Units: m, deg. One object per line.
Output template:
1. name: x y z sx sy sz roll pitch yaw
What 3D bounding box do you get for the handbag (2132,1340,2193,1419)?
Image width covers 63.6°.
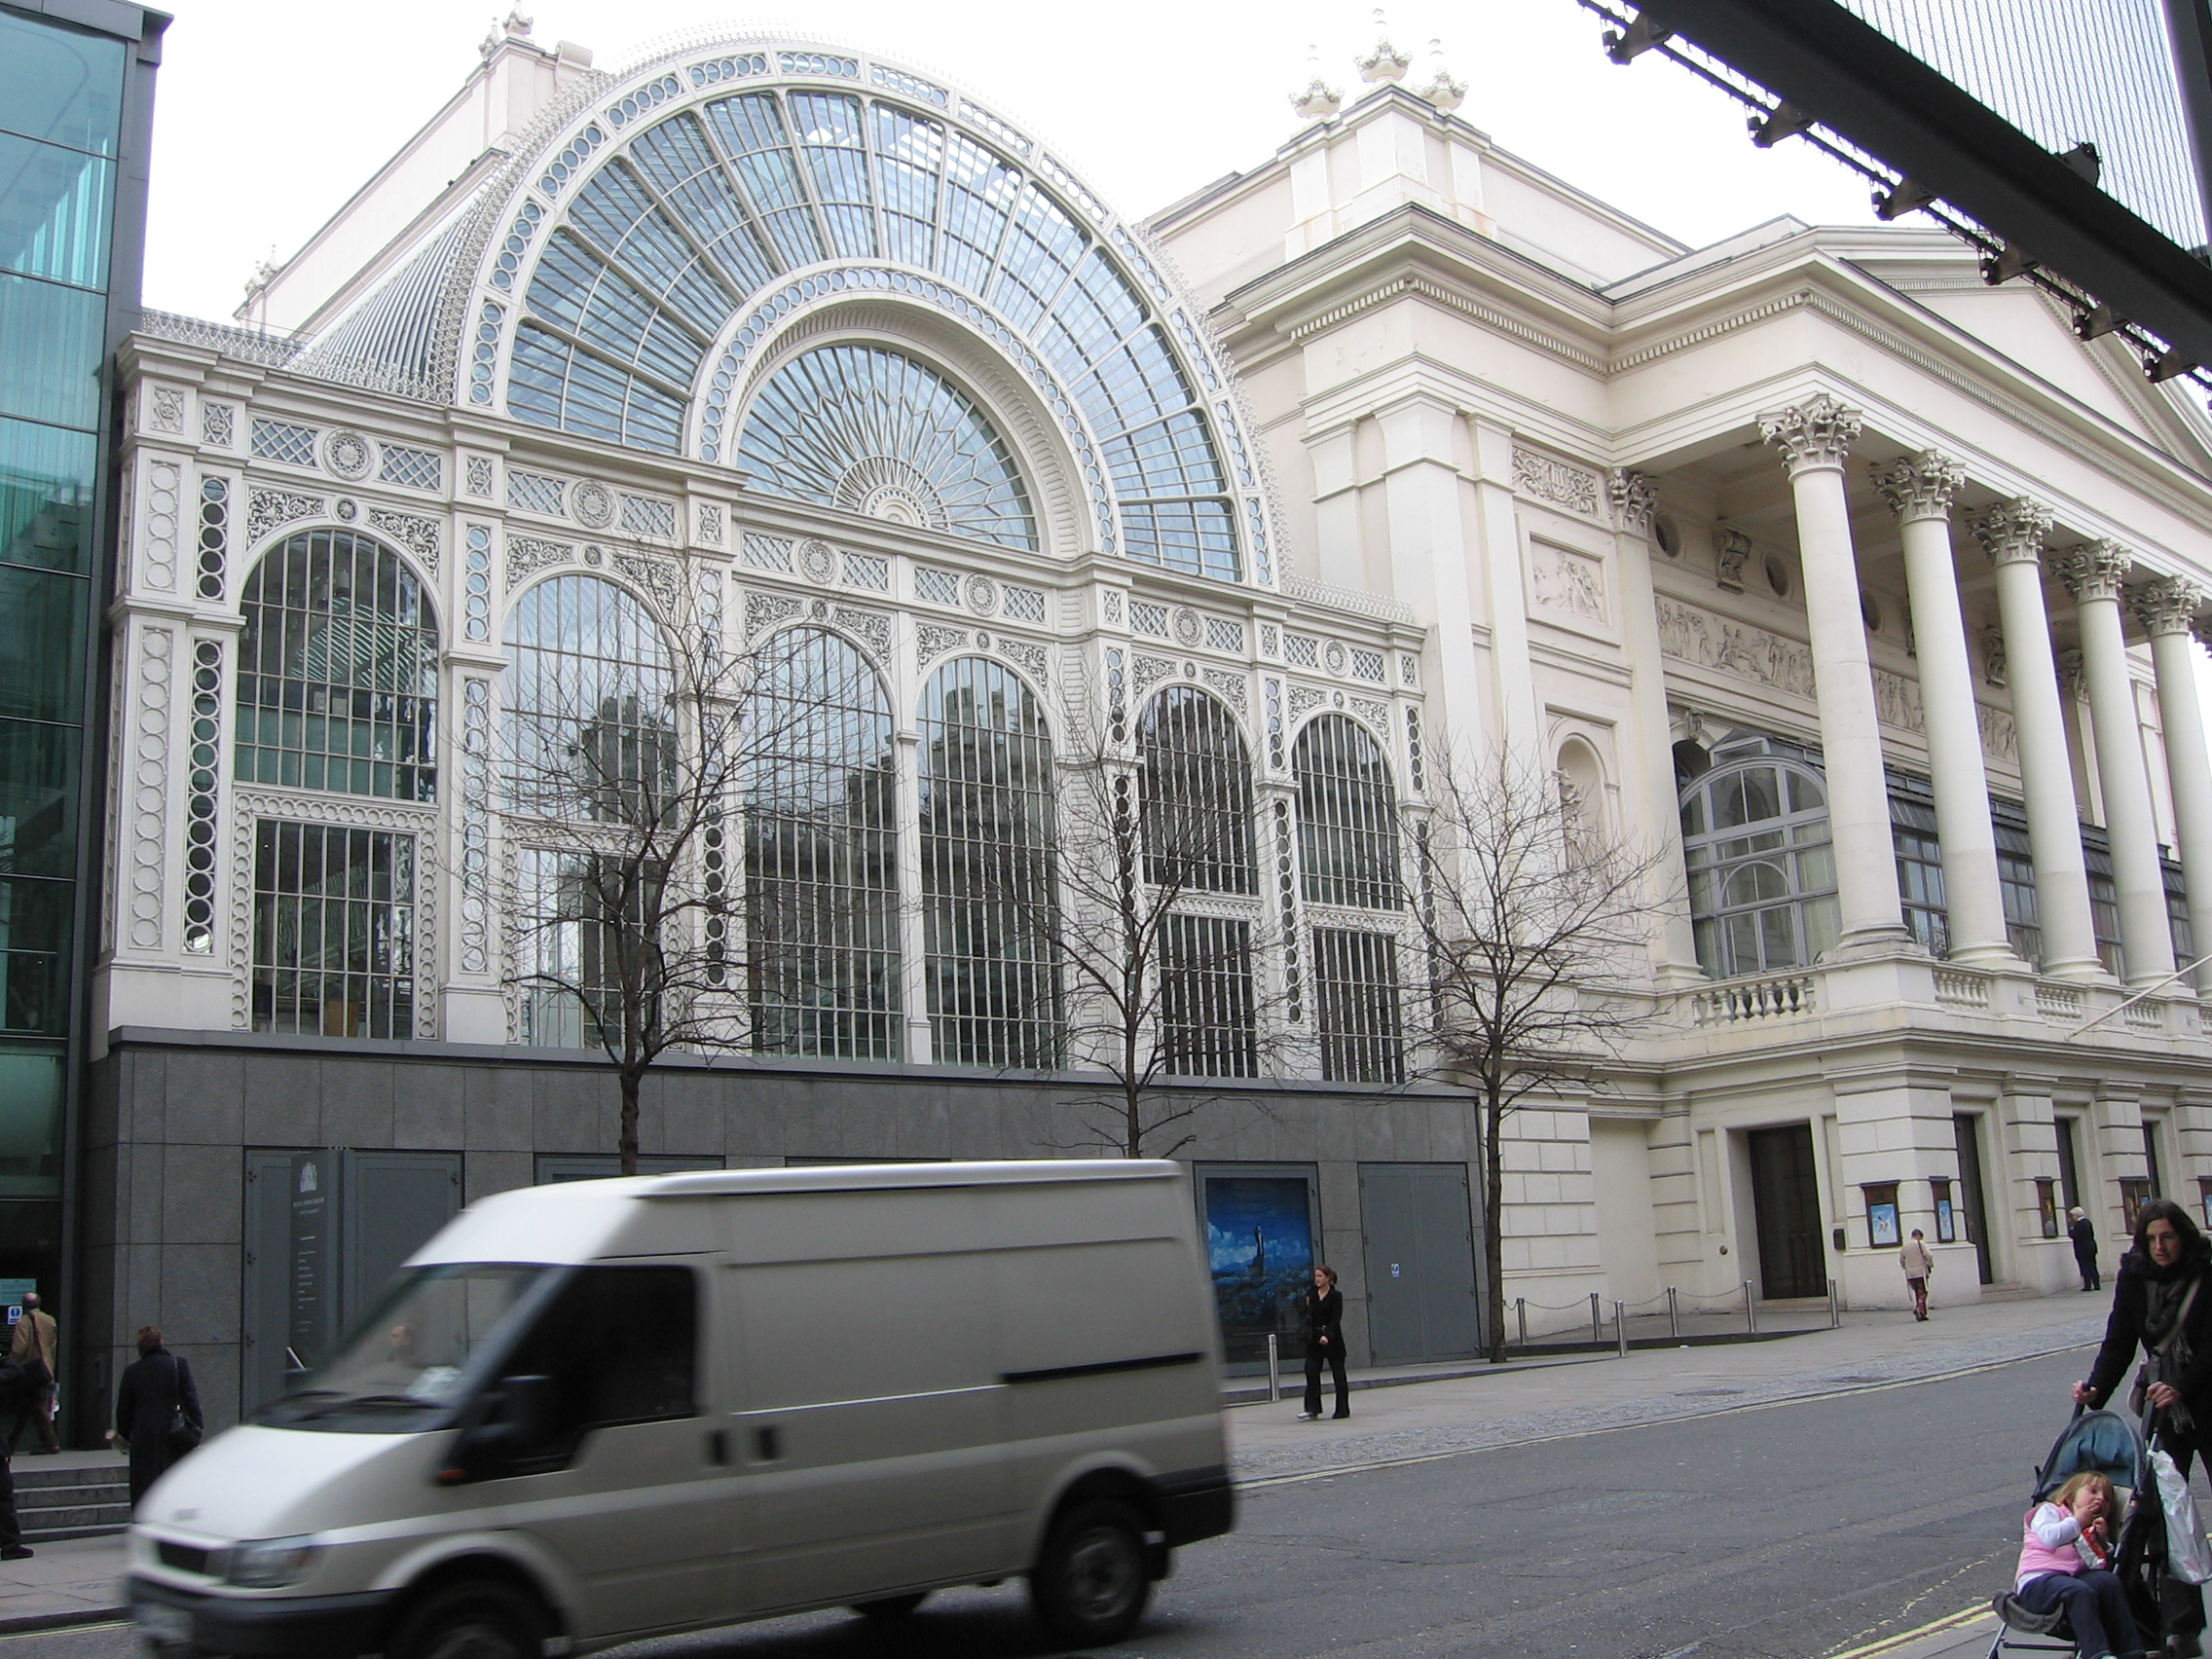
1. handbag: 5.340 2.829 9.039 0.132 0.434 0.305 2 13 7

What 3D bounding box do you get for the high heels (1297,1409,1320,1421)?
1. high heels: 2.819 8.111 24.658 0.259 0.179 0.093 21 -32 -26
